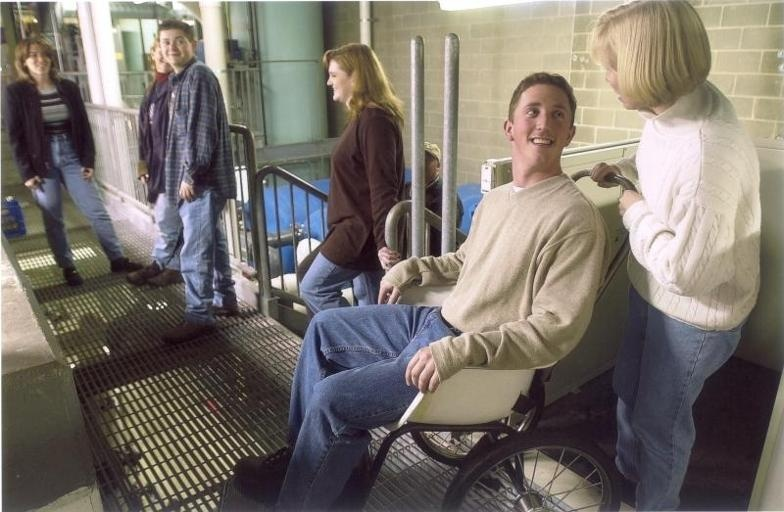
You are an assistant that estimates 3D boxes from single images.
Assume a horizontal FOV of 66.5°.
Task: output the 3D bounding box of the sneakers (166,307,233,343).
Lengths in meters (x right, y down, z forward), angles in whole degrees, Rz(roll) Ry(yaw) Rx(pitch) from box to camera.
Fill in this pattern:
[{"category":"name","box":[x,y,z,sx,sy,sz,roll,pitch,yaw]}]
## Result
[{"category":"sneakers","box":[-1.502,0.511,4.713,0.538,0.213,0.169,-14,25,-31]}]
